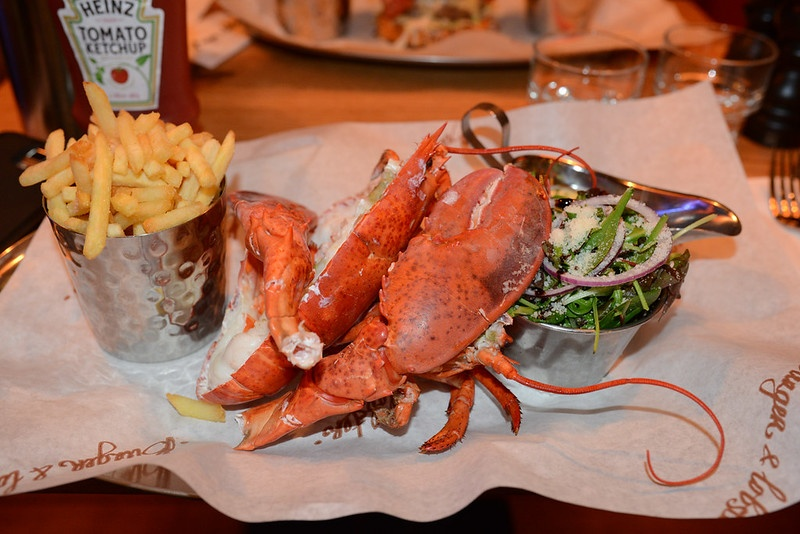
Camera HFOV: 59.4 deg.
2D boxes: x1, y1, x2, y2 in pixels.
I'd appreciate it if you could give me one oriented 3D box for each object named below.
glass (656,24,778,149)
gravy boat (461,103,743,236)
[{"bbox_3d":[1.152,-0.644,2.532,0.345,0.350,0.323,38,62,25],"label":"glass"},{"bbox_3d":[0.631,-0.291,2.119,0.756,0.121,0.157,29,41,29],"label":"gravy boat"}]
